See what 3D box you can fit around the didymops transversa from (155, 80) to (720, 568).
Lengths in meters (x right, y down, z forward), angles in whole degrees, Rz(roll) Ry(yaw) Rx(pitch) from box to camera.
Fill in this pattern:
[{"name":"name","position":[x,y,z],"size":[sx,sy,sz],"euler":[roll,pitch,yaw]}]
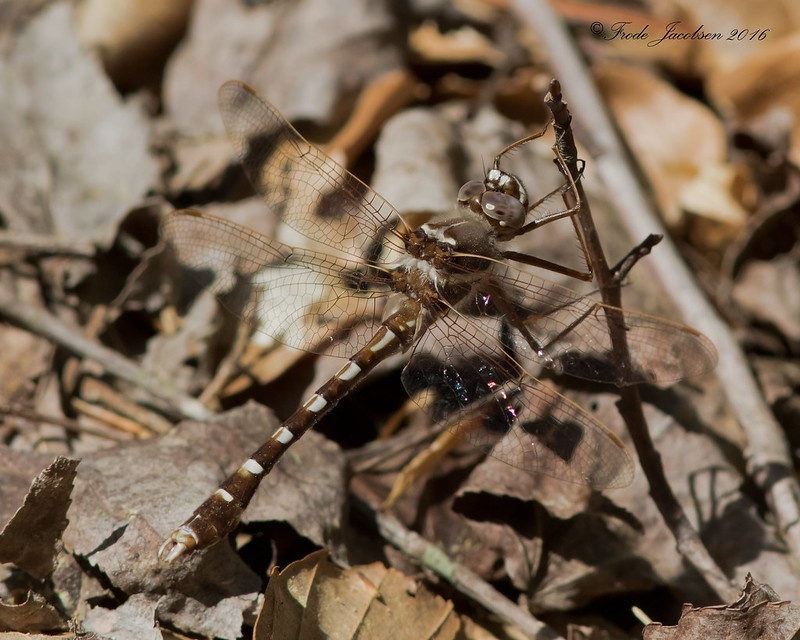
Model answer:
[{"name":"didymops transversa","position":[0.140,0.013,3.219],"size":[1.447,0.677,1.542],"euler":[30,84,23]}]
